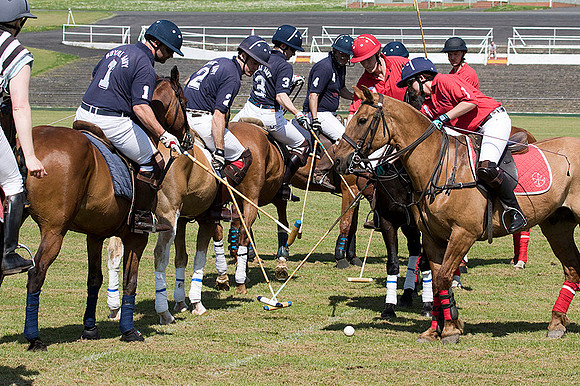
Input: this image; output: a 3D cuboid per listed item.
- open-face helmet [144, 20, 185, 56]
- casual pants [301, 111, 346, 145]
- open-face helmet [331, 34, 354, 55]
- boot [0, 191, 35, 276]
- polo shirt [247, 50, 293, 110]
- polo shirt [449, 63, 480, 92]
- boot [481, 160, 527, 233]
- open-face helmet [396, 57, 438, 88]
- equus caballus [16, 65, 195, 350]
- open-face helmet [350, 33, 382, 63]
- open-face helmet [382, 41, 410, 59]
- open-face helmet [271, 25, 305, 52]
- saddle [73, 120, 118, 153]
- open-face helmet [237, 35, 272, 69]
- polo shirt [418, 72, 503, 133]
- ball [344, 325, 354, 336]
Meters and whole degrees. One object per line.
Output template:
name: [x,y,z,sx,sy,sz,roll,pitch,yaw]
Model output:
open-face helmet: [-1.592,-2.062,12.108,0.608,0.299,0.418,23,8,-8]
casual pants: [0.566,-1.124,15.531,0.219,0.666,0.487,35,17,-34]
open-face helmet: [0.884,-2.392,14.860,0.300,0.198,0.344,1,33,-47]
boot: [-3.105,0.457,10.536,0.205,0.946,0.325,4,4,22]
polo shirt: [-0.324,-1.768,14.473,0.555,0.751,0.844,-6,25,-34]
polo shirt: [2.338,-1.674,12.613,0.318,0.225,0.139,8,53,-22]
boot: [2.735,0.070,11.875,0.281,0.964,0.379,-26,24,23]
open-face helmet: [1.708,-1.653,12.467,0.497,0.219,0.368,-13,-7,-15]
equus caballus: [-2.409,0.129,11.650,1.877,3.567,0.791,2,4,-20]
open-face helmet: [1.120,-2.225,13.925,0.435,0.251,0.467,-15,32,31]
open-face helmet: [1.700,-2.329,15.051,0.327,0.211,0.431,-13,14,20]
open-face helmet: [-0.001,-2.583,15.166,0.669,0.321,0.467,16,23,-16]
saddle: [-2.468,-0.763,11.878,0.516,0.361,0.238,38,26,5]
open-face helmet: [-0.485,-2.025,13.197,0.493,0.236,0.386,26,8,7]
polo shirt: [2.251,-1.205,12.287,0.974,0.401,0.806,2,-4,-13]
ball: [0.763,1.789,12.034,0.128,0.058,0.115,-5,17,-10]
